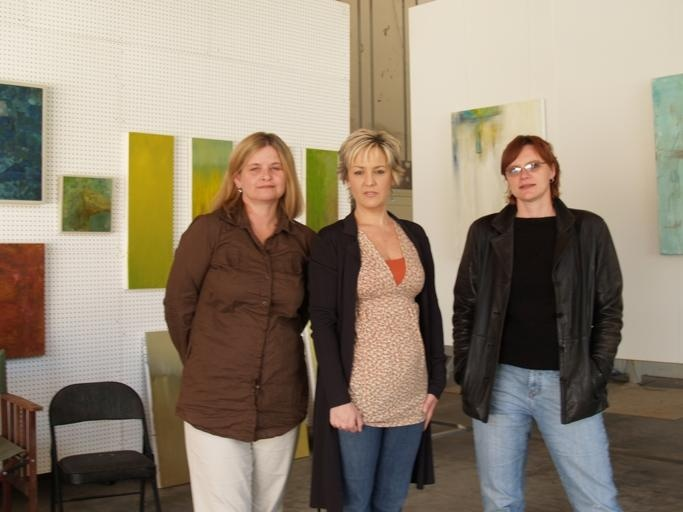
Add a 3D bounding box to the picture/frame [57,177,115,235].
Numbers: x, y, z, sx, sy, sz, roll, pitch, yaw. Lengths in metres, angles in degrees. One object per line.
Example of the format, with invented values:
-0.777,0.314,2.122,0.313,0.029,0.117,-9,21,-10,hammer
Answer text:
-2.041,-0.412,4.541,0.495,0.546,0.076,0,0,-37,picture/frame
